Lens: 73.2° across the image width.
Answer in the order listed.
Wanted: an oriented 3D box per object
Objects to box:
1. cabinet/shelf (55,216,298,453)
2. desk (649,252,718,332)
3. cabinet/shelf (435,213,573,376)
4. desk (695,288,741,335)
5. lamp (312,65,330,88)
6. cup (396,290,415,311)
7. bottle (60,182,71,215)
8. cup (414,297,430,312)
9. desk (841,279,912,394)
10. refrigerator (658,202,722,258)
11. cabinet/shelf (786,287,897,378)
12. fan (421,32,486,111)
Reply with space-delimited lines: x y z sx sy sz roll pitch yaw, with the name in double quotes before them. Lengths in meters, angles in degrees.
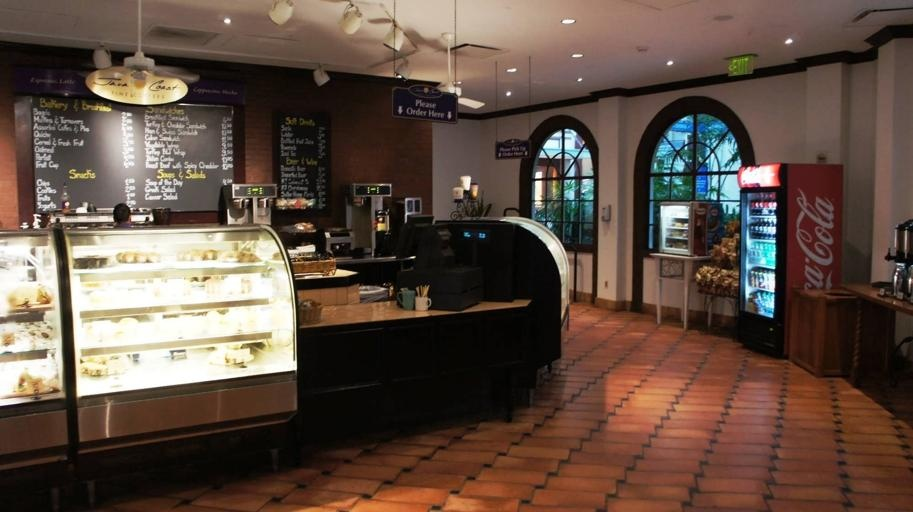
"cabinet/shelf" -2.799 0.565 7.025 3.053 1.854 2.773 -2 12 -33
"desk" 4.017 0.609 10.555 1.319 1.262 1.283 4 4 44
"cabinet/shelf" 0.604 0.454 7.442 1.234 1.736 0.403 0 9 17
"desk" 4.483 0.854 10.387 0.848 0.462 0.819 -1 11 -41
"lamp" -2.246 -2.913 10.004 0.267 0.276 0.407 -9 33 -17
"cup" -0.589 0.481 6.956 0.125 0.229 0.253 -10 11 -42
"bottle" -5.843 -0.876 9.058 0.128 0.372 0.412 -8 10 -32
"cup" -0.394 0.526 6.883 0.179 0.160 0.075 -3 8 -4
"desk" 5.506 1.036 7.982 0.826 1.286 1.496 2 9 30
"refrigerator" 4.048 -0.468 10.491 0.697 0.792 0.911 -3 5 -28
"cabinet/shelf" 5.475 1.015 8.980 1.282 1.430 1.310 -1 3 -4
"fan" -0.048 -2.869 9.310 1.366 1.044 1.264 0 12 -8
